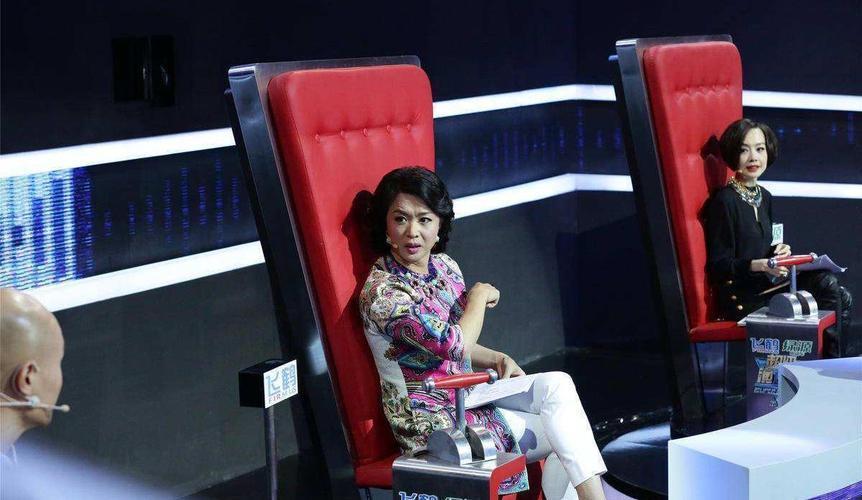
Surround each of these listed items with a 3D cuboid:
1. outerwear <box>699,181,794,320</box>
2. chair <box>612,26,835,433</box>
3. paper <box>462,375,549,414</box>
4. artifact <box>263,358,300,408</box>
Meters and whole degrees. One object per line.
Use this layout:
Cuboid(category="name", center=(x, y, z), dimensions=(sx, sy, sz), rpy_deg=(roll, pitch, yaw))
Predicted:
Cuboid(category="outerwear", center=(1.868, -0.013, 3.629), dimensions=(0.568, 0.728, 0.433), rpy_deg=(-13, 12, -41))
Cuboid(category="chair", center=(1.806, -0.162, 3.638), dimensions=(1.088, 2.029, 1.209), rpy_deg=(2, 15, 46))
Cuboid(category="paper", center=(0.260, 0.525, 2.454), dimensions=(0.298, 0.119, 0.377), rpy_deg=(1, 1, 9))
Cuboid(category="artifact", center=(-0.531, 0.466, 2.246), dimensions=(0.072, 0.133, 0.228), rpy_deg=(-5, 2, 21))
